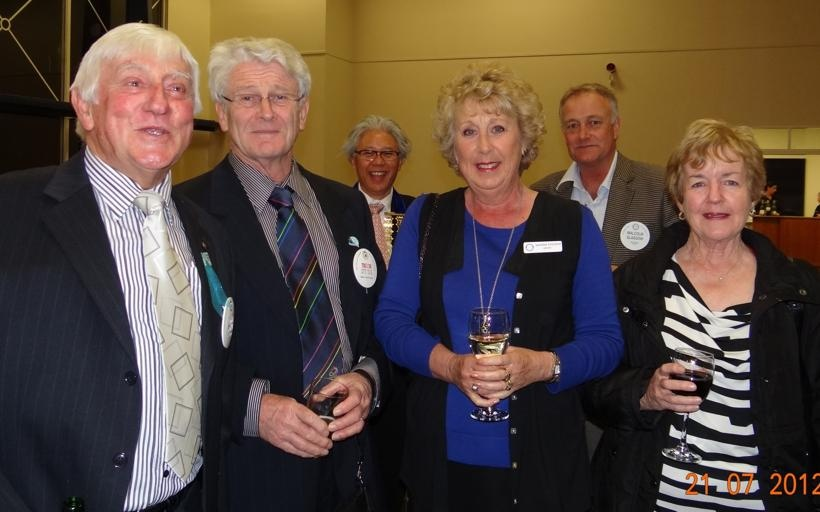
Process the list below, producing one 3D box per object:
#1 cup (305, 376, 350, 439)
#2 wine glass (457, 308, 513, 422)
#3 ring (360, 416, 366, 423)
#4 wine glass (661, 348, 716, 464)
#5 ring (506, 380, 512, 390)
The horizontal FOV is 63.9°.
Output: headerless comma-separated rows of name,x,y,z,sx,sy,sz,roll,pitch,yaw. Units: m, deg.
cup,-0.410,0.721,3.178,0.184,0.181,0.170,32,12,-7
wine glass,0.396,0.557,3.218,0.201,0.584,0.177,-2,14,-8
ring,-0.229,0.816,3.269,0.021,0.016,0.030,0,-2,-5
wine glass,1.412,0.790,3.359,0.228,0.614,0.178,-8,16,-31
ring,0.475,0.620,3.157,0.038,0.042,0.029,2,1,-5
